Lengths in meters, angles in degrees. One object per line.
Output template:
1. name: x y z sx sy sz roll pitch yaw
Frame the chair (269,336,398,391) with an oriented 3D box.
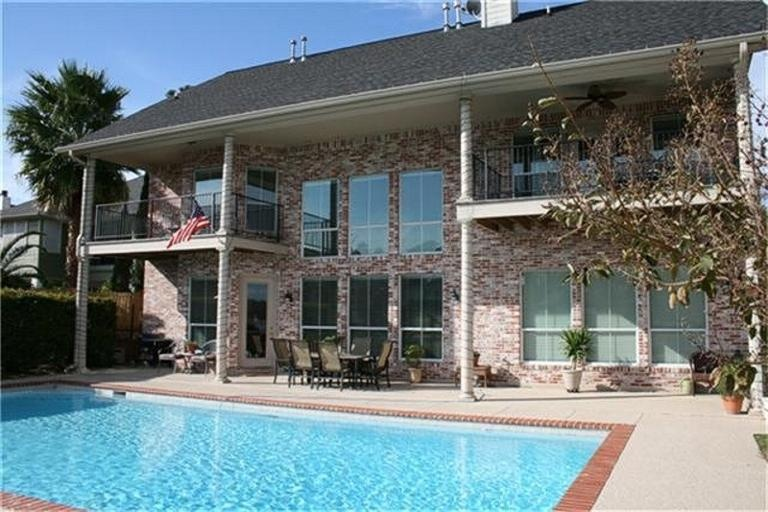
1. chair: -1.425 3.019 19.309 3.363 1.389 1.853 -4 -10 29

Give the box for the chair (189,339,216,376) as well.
1. chair: -5.601 3.216 22.101 0.648 0.837 0.656 13 6 31

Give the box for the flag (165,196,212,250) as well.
1. flag: -6.101 -1.036 21.622 1.530 1.221 0.173 -21 -18 28

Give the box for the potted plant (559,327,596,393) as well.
1. potted plant: 5.185 2.743 18.211 0.775 1.728 1.014 -2 -8 17

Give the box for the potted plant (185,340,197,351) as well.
1. potted plant: -6.267 2.949 22.358 0.313 0.237 0.315 3 -8 -29

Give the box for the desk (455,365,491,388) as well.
1. desk: 2.519 3.336 19.067 0.966 0.575 0.545 -1 -8 9

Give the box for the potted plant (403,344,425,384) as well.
1. potted plant: 0.916 3.145 20.057 0.484 1.113 0.499 0 -8 4

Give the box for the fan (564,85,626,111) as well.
1. fan: 5.572 -4.056 17.605 1.086 0.339 1.226 3 -8 -11

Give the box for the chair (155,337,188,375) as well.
1. chair: -6.872 3.235 22.429 0.671 1.014 0.767 -1 -7 29

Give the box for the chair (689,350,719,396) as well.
1. chair: 7.970 2.883 17.019 0.588 1.032 1.020 -3 -9 24

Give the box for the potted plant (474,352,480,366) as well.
1. potted plant: 2.659 2.902 19.360 0.146 0.380 0.361 -1 -8 10
